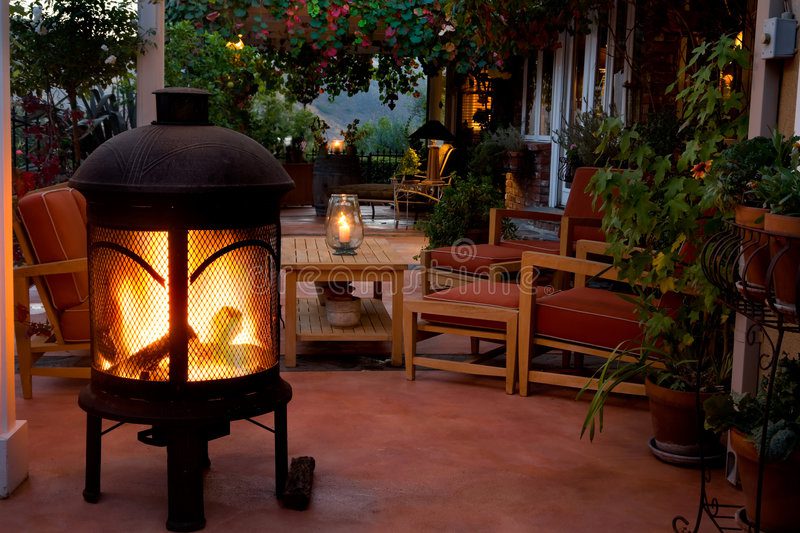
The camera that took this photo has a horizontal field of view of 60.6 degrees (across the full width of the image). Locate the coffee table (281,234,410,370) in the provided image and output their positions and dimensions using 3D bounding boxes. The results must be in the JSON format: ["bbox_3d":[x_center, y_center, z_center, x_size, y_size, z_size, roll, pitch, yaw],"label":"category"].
[{"bbox_3d":[-0.429,0.215,5.269,0.912,0.750,1.230,0,11,-9],"label":"coffee table"}]

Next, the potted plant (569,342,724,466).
[{"bbox_3d":[1.240,0.715,3.461,0.603,0.485,0.600,-1,8,-8],"label":"potted plant"}]

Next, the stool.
[{"bbox_3d":[0.497,0.273,4.482,0.808,0.620,1.217,1,6,19],"label":"stool"}]

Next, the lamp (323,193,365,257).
[{"bbox_3d":[-0.381,-0.318,5.026,0.396,0.600,0.378,-1,0,-5],"label":"lamp"}]
